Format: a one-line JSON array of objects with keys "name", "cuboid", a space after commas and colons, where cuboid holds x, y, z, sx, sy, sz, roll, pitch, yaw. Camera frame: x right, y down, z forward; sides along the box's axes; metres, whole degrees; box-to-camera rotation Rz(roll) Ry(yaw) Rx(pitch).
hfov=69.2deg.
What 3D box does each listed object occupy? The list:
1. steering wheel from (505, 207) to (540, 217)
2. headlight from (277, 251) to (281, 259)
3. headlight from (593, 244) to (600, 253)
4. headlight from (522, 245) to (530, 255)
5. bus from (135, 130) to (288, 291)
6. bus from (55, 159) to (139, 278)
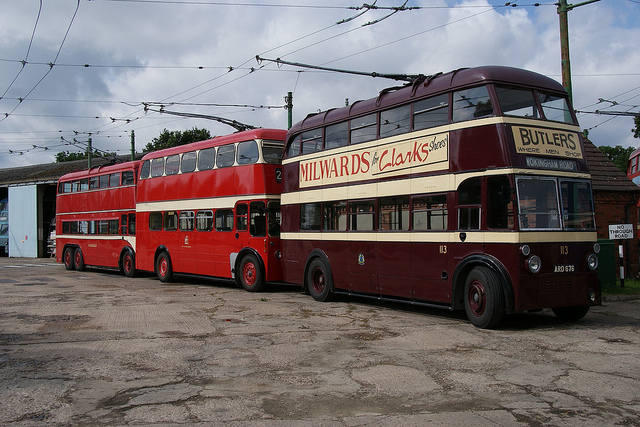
[{"name": "steering wheel", "cuboid": [4.533, -0.033, 10.344, 0.807, 0.211, 0.207, 0, -1, -18]}, {"name": "headlight", "cuboid": [-1.514, 1.491, 16.874, 0.228, 0.240, 0.053, -5, -1, -23]}, {"name": "headlight", "cuboid": [6.591, 0.823, 11.040, 0.121, 0.194, 0.041, 0, -1, -27]}, {"name": "headlight", "cuboid": [4.484, 0.790, 10.097, 0.055, 0.159, 0.156, -8, -32, 46]}, {"name": "bus", "cuboid": [-4.602, -0.164, 20.905, 9.151, 6.036, 3.143, -2, 1, 38]}, {"name": "bus", "cuboid": [-12.039, 0.172, 27.137, 10.073, 5.905, 2.872, -2, 3, 36]}]
